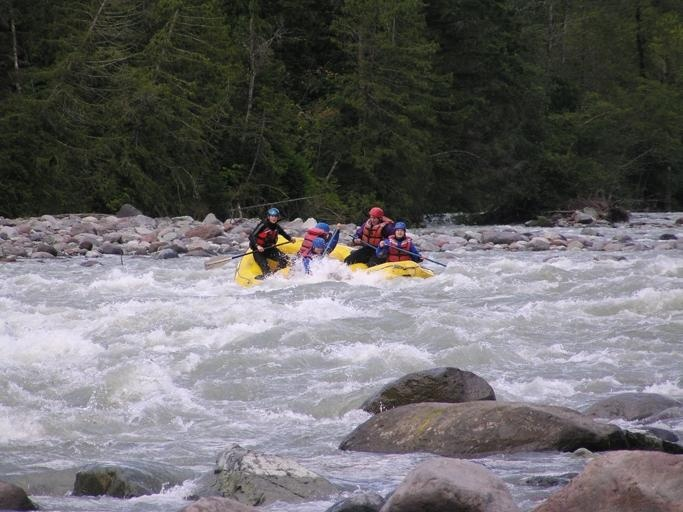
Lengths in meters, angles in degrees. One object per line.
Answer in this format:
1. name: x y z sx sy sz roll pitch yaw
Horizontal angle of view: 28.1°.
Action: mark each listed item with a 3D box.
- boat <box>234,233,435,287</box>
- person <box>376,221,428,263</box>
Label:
1. boat: -0.472 0.351 45.209 7.226 1.486 3.307 1 2 14
2. person: 1.874 -0.043 45.974 1.674 1.931 1.012 2 2 -17
